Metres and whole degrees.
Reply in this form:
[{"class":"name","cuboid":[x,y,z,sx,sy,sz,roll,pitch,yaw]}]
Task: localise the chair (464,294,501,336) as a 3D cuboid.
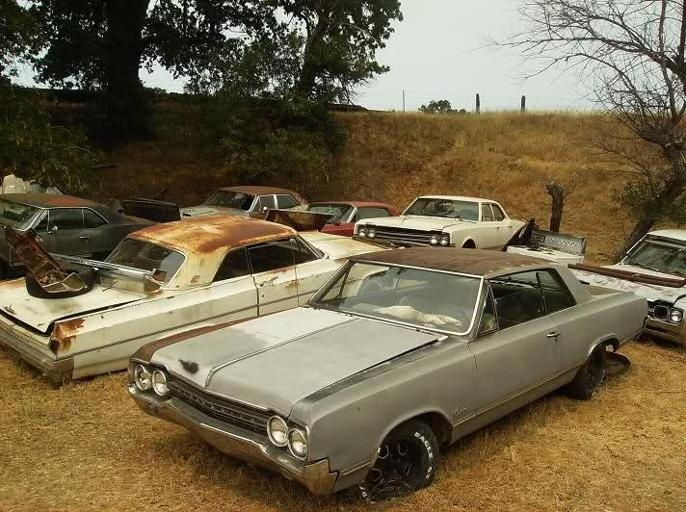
[{"class":"chair","cuboid":[1.352,0.543,4.668,0.171,0.348,0.350,7,15,21]}]
